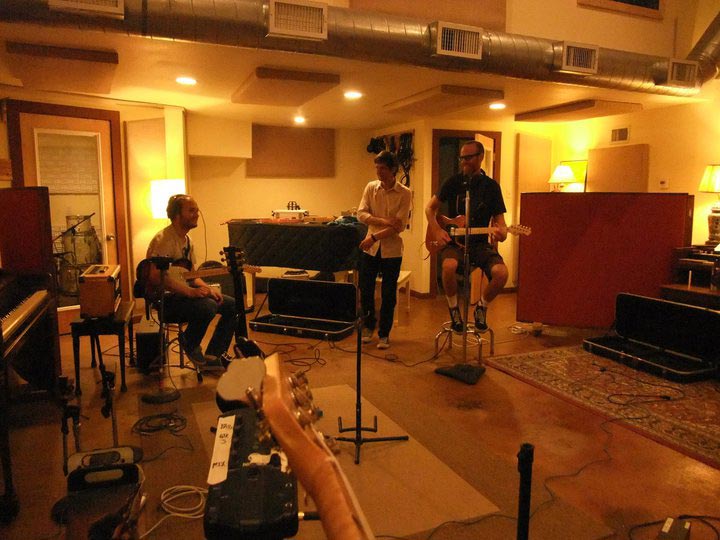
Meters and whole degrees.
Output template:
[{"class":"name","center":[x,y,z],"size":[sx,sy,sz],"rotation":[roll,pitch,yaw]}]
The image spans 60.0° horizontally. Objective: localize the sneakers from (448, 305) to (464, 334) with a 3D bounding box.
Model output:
[{"class":"sneakers","center":[0.894,0.467,5.787],"size":[0.190,0.228,0.197],"rotation":[-3,1,-5]}]

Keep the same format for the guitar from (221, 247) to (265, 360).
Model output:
[{"class":"guitar","center":[-0.833,0.261,4.507],"size":[0.283,0.779,0.078],"rotation":[-8,-14,22]}]

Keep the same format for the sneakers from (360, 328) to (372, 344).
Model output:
[{"class":"sneakers","center":[0.078,0.685,6.533],"size":[0.096,0.159,0.163],"rotation":[0,-7,7]}]

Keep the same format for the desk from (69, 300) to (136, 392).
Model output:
[{"class":"desk","center":[-2.213,0.667,5.392],"size":[0.341,0.488,0.687],"rotation":[-1,8,-11]}]

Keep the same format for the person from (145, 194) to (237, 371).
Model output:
[{"class":"person","center":[-1.492,0.106,5.559],"size":[0.748,1.518,0.633],"rotation":[1,7,0]}]

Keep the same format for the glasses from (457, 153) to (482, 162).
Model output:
[{"class":"glasses","center":[1.001,-1.015,5.580],"size":[0.201,0.050,0.166],"rotation":[1,10,9]}]

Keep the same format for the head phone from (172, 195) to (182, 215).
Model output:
[{"class":"head phone","center":[-1.576,-0.567,5.360],"size":[0.049,0.136,0.115],"rotation":[8,1,-29]}]

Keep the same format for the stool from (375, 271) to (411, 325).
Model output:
[{"class":"stool","center":[0.492,0.335,8.275],"size":[0.524,0.683,0.689],"rotation":[3,7,23]}]

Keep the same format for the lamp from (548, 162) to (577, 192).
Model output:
[{"class":"lamp","center":[2.857,-1.308,8.763],"size":[0.335,0.371,0.554],"rotation":[3,10,19]}]

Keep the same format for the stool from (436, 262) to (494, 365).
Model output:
[{"class":"stool","center":[1.149,0.402,6.533],"size":[0.458,0.957,0.438],"rotation":[-9,2,9]}]

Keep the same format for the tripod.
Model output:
[{"class":"tripod","center":[0.039,0.973,4.984],"size":[0.647,0.976,0.624],"rotation":[-15,23,-33]}]

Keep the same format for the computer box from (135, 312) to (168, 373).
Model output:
[{"class":"computer box","center":[-1.868,0.670,5.630],"size":[0.268,0.492,0.516],"rotation":[-1,7,-11]}]

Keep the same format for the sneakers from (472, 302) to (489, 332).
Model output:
[{"class":"sneakers","center":[1.136,0.413,5.834],"size":[0.116,0.158,0.392],"rotation":[-2,5,4]}]

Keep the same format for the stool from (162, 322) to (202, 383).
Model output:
[{"class":"stool","center":[-1.610,0.688,5.690],"size":[0.384,0.556,0.420],"rotation":[-1,9,-28]}]

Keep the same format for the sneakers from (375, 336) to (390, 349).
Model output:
[{"class":"sneakers","center":[0.238,0.739,6.377],"size":[0.096,0.103,0.256],"rotation":[-1,-5,3]}]
